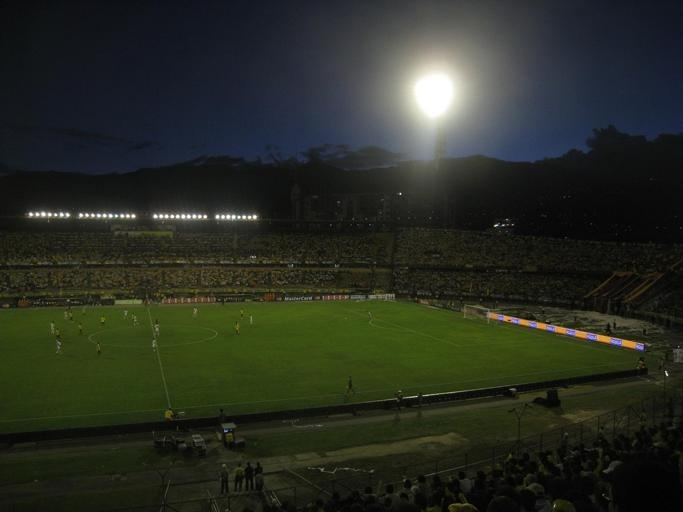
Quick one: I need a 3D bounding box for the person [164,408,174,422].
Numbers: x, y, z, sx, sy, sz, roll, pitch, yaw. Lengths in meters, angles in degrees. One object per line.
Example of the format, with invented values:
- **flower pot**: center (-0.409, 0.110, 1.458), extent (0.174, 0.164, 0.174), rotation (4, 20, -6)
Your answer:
- **person**: center (-12.446, 11.316, 42.037), extent (0.712, 0.966, 1.880), rotation (-1, 5, -19)
